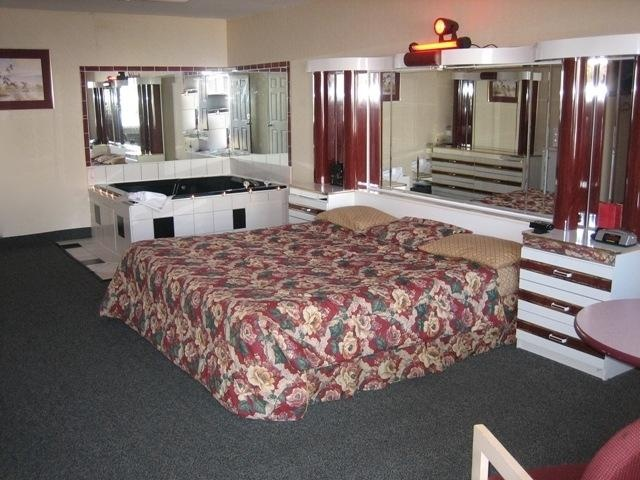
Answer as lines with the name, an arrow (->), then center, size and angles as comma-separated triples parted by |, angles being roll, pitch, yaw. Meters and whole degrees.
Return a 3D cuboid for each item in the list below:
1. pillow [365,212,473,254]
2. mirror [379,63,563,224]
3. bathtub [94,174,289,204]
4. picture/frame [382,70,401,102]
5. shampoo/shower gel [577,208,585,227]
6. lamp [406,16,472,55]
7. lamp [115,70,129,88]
pillow -> 0.931, -0.076, 4.650 | 0.605, 0.124, 0.442 | -14, 20, -37
mirror -> 1.424, -1.020, 4.838 | 0.037, 1.539, 2.506 | -17, 21, -22
bathtub -> -2.172, -0.826, 7.503 | 1.317, 0.297, 1.188 | -6, 13, -32
picture/frame -> 0.808, -1.721, 5.375 | 0.039, 0.350, 0.322 | -9, 17, -34
shampoo/shower gel -> 2.121, -0.176, 3.895 | 0.071, 0.138, 0.023 | -8, 18, -17
lamp -> 1.173, -1.930, 4.546 | 0.551, 0.338, 0.292 | -24, 53, -14
lamp -> -3.004, -2.430, 7.319 | 0.215, 0.212, 0.204 | -3, 8, -20
